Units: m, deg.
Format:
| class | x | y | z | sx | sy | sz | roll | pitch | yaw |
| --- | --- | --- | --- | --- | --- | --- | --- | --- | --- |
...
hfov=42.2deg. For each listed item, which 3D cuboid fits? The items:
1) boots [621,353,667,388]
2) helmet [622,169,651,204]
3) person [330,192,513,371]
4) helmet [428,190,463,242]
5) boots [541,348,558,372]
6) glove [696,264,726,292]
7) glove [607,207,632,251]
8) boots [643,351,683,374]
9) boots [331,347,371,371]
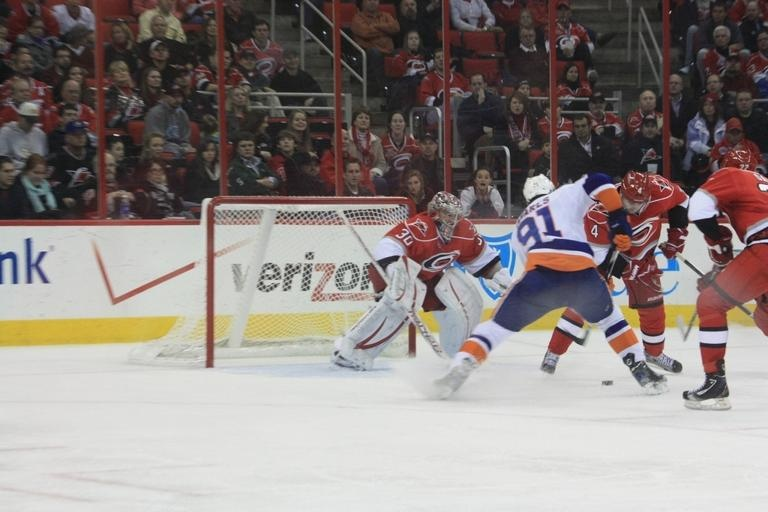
| class | x | y | z | sx | sy | sz | roll | pitch | yaw |
| --- | --- | --- | --- | --- | --- | --- | --- | --- | --- |
| boots | 1.944 | 0.830 | 7.301 | 0.200 | 0.197 | 0.476 | -5 | 14 | -18 |
| helmet | 1.926 | -0.535 | 7.632 | 0.216 | 0.236 | 0.232 | -2 | -26 | 0 |
| person | 0.331 | 0.204 | 8.045 | 1.460 | 1.426 | 0.898 | 0 | 11 | -32 |
| helmet | 0.481 | -0.320 | 7.882 | 0.318 | 0.353 | 0.292 | 7 | 3 | -6 |
| boots | 1.340 | 0.832 | 7.966 | 0.125 | 0.114 | 0.209 | 18 | 30 | 7 |
| glove | 2.522 | 0.119 | 7.696 | 0.091 | 0.262 | 0.191 | 40 | 23 | -5 |
| glove | 1.691 | -0.197 | 7.114 | 0.133 | 0.275 | 0.183 | -11 | 6 | -32 |
| boots | 2.206 | 0.852 | 7.968 | 0.348 | 0.140 | 0.123 | 19 | 46 | 28 |
| boots | -0.257 | 0.818 | 7.965 | 0.248 | 0.112 | 0.179 | 6 | -7 | 13 |
